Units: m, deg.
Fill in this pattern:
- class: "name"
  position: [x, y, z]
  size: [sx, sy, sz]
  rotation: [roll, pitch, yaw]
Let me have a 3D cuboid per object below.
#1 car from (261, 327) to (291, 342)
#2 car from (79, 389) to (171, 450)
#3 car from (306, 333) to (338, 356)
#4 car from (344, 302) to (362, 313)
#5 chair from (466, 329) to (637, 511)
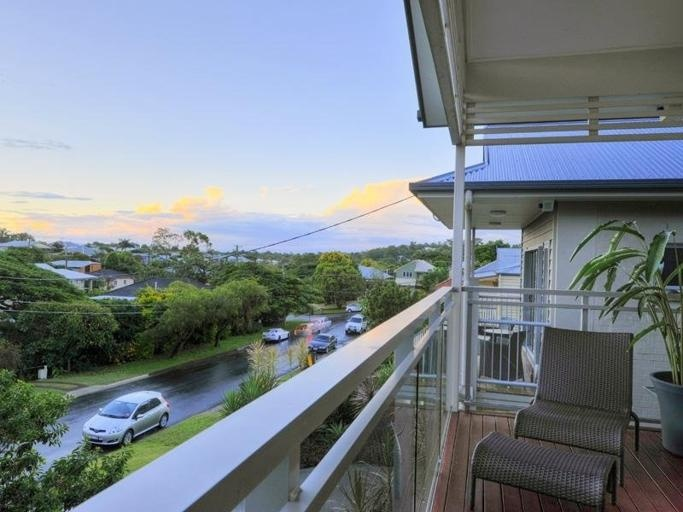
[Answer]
- class: "car"
  position: [-6.170, 7.444, 40.395]
  size: [1.277, 1.404, 2.628]
  rotation: [0, -1, 29]
- class: "car"
  position: [-10.779, 8.331, 21.829]
  size: [1.989, 2.779, 3.987]
  rotation: [0, -1, 15]
- class: "car"
  position: [-1.453, 6.754, 33.171]
  size: [1.999, 1.535, 2.549]
  rotation: [1, -1, -5]
- class: "car"
  position: [1.531, 6.925, 57.547]
  size: [2.325, 1.114, 1.431]
  rotation: [-4, 3, 5]
- class: "chair"
  position: [1.618, 1.144, 3.288]
  size: [0.876, 1.017, 1.649]
  rotation: [-1, 0, 32]
